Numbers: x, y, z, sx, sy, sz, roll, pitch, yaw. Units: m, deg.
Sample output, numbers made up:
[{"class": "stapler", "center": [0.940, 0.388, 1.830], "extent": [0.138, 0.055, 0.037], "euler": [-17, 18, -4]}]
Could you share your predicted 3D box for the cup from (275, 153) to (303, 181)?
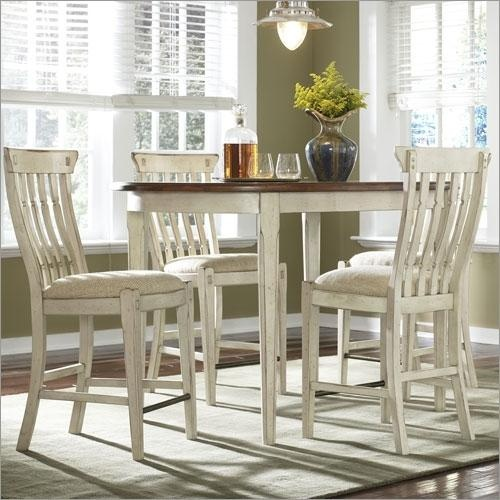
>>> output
[{"class": "cup", "center": [0.124, -0.291, 2.254], "extent": [0.131, 0.124, 0.130], "euler": [0, 4, 0]}]

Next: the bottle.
[{"class": "bottle", "center": [-0.040, -0.399, 2.294], "extent": [0.156, 0.301, 0.155], "euler": [3, 28, -2]}]

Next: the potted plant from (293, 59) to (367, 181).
[{"class": "potted plant", "center": [0.304, -0.487, 2.344], "extent": [0.289, 0.421, 0.294], "euler": [0, 13, 16]}]

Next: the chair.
[{"class": "chair", "center": [-0.091, 0.081, 2.278], "extent": [0.847, 0.909, 1.440], "euler": [2, 3, 44]}]
